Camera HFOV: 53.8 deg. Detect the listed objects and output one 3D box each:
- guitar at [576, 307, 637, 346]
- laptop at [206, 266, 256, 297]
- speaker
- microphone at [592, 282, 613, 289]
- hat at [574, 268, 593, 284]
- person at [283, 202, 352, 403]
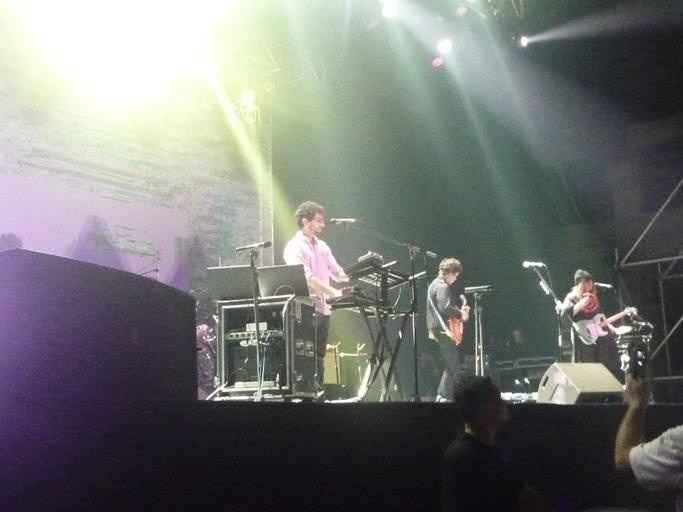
[{"bbox_3d":[4.083,1.048,10.426,1.170,0.505,0.146,-19,-9,-29],"label":"guitar"},{"bbox_3d":[-1.240,0.312,7.529,0.582,0.347,0.415,-3,-14,5],"label":"laptop"},{"bbox_3d":[2.243,1.300,6.475,0.514,0.292,0.536,9,-34,-27],"label":"speaker"},{"bbox_3d":[4.181,0.468,10.592,0.218,0.074,0.231,9,-6,-11],"label":"microphone"},{"bbox_3d":[3.933,0.328,10.825,0.252,0.208,0.194,-16,-5,9],"label":"hat"},{"bbox_3d":[-0.302,0.442,8.217,0.752,2.396,1.113,-1,-12,0],"label":"person"}]
